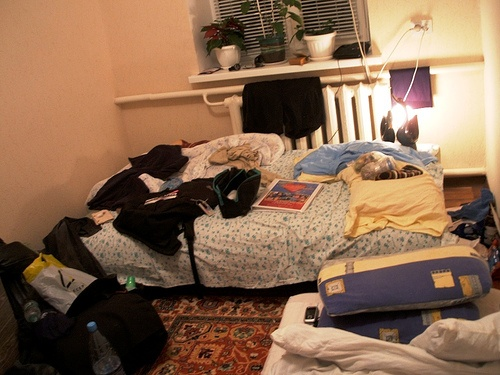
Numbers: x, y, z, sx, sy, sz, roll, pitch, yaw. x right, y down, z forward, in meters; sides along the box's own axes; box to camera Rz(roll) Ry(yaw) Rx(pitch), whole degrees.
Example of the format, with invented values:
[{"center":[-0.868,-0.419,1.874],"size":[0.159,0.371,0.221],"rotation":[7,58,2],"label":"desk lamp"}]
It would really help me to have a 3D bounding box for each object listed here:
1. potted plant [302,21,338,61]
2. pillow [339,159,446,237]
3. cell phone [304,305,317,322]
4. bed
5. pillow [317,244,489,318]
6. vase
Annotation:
[{"center":[0.599,-1.232,3.163],"size":[0.263,0.304,0.334],"rotation":[-4,18,14],"label":"potted plant"},{"center":[0.806,0.097,2.102],"size":[0.430,0.106,0.436],"rotation":[-2,46,6],"label":"pillow"},{"center":[0.289,0.599,1.767],"size":[0.062,0.028,0.099],"rotation":[-4,18,13],"label":"cell phone"},{"center":[-0.032,0.281,2.304],"size":[1.600,0.381,1.028],"rotation":[0,41,13],"label":"bed"},{"center":[0.694,0.400,1.672],"size":[0.626,0.191,0.357],"rotation":[-12,22,5],"label":"pillow"},{"center":[-0.224,-1.303,3.416],"size":[0.411,0.374,0.370],"rotation":[-19,22,-18],"label":"vase"}]
